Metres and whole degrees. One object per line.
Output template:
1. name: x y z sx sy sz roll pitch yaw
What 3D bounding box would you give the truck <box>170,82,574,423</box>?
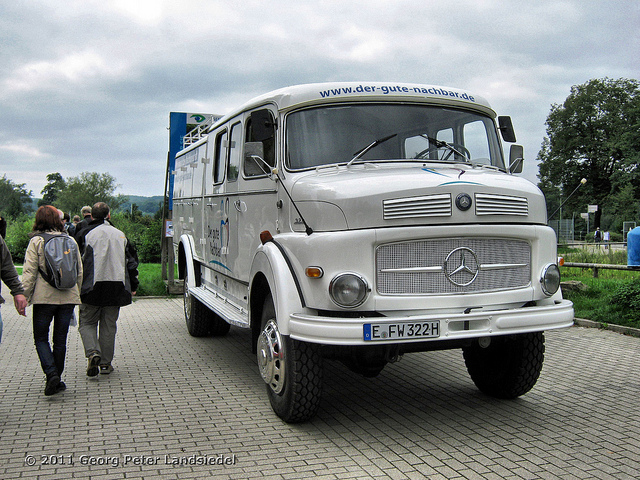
1. truck: -0.477 -0.204 7.930 3.395 4.204 8.705 -3 4 -26

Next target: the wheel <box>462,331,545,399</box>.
1. wheel: 2.295 1.449 5.411 1.003 1.009 0.700 4 3 -3

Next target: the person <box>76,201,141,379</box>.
1. person: -3.191 0.705 6.423 0.809 2.570 0.897 0 -1 -31

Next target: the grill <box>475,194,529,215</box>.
1. grill: 1.828 -0.345 4.278 0.716 0.200 0.053 0 -1 -26

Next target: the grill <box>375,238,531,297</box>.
1. grill: 1.336 0.256 4.176 1.709 0.544 0.163 0 -1 -19
